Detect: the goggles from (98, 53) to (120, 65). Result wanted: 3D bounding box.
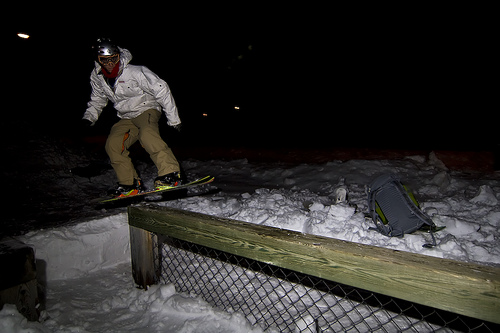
[{"bbox_3d":[-2.541,-1.940,5.819,0.348,0.188,0.145,-9,18,-22],"label":"goggles"}]

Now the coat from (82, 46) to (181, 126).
[{"bbox_3d":[-2.439,-1.474,6.279,1.926,1.446,0.777,-2,32,8],"label":"coat"}]

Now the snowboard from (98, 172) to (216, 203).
[{"bbox_3d":[-1.974,0.466,6.739,2.872,0.305,0.188,-6,49,-23],"label":"snowboard"}]
